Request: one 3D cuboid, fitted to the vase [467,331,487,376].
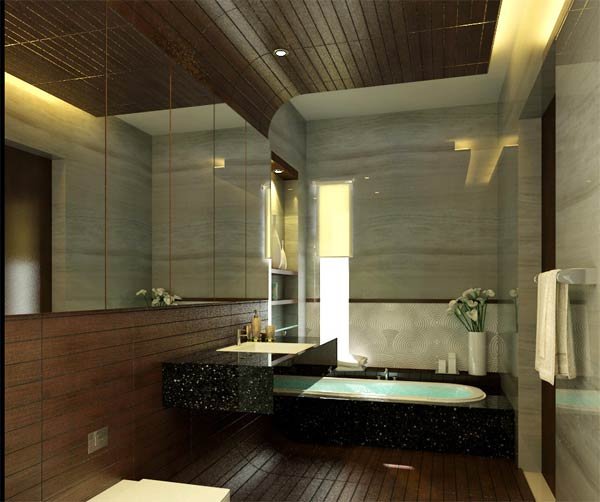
[{"bbox_3d":[1.631,0.938,4.359,0.161,0.390,0.078,0,4,12],"label":"vase"}]

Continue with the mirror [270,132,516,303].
[{"bbox_3d":[0.967,-0.289,4.603,1.649,1.282,0.016,0,-1,25],"label":"mirror"}]

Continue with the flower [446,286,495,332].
[{"bbox_3d":[1.585,0.490,4.505,0.405,0.442,0.358,5,9,44],"label":"flower"}]

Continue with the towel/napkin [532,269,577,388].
[{"bbox_3d":[1.337,0.389,2.494,0.158,0.605,0.405,1,5,21],"label":"towel/napkin"}]
